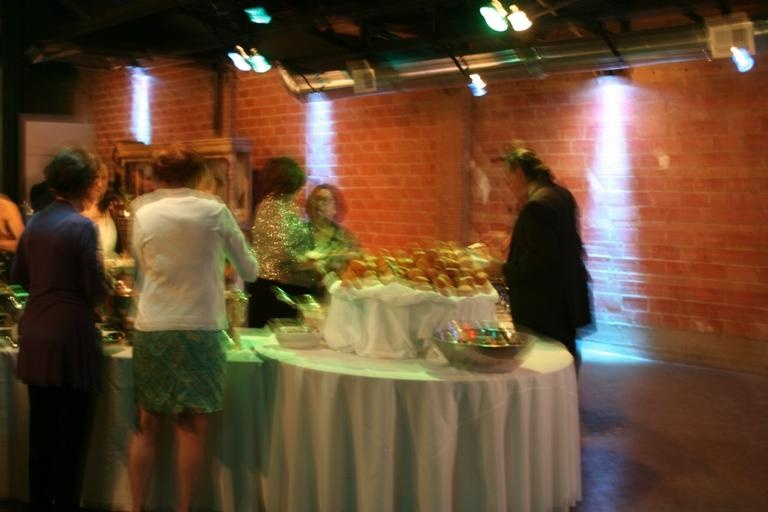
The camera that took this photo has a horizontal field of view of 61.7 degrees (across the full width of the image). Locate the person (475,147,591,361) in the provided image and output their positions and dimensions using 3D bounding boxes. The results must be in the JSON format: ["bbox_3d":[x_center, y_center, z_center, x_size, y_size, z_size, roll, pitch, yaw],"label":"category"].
[{"bbox_3d":[0.918,0.172,4.158,0.773,1.591,0.714,6,20,28],"label":"person"}]

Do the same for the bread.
[{"bbox_3d":[0.142,0.072,3.294,0.518,0.138,0.377,0,3,35],"label":"bread"}]

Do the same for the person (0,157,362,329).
[{"bbox_3d":[-1.106,-0.046,3.641,1.603,0.790,0.387,0,13,-3],"label":"person"}]
